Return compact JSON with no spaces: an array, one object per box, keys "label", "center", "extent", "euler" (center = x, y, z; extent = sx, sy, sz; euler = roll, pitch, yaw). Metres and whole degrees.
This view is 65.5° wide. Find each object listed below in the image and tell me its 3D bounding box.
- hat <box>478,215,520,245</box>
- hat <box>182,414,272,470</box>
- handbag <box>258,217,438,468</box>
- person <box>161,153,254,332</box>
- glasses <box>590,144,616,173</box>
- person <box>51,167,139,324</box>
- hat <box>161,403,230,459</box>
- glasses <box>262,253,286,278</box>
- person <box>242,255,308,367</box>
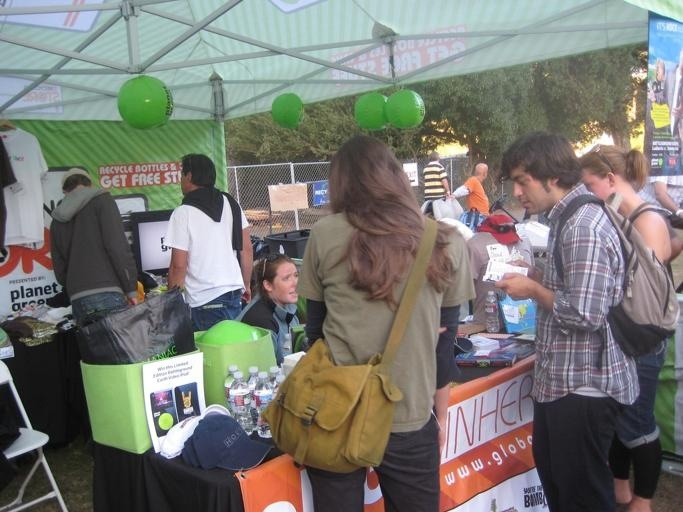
[{"label":"hat","center":[1.266,-0.228,4.239],"extent":[0.278,0.231,0.427],"euler":[4,9,-15]},{"label":"hat","center":[-0.532,0.879,2.453],"extent":[0.306,0.134,0.213],"euler":[2,7,25]},{"label":"handbag","center":[0.049,0.370,2.143],"extent":[0.751,0.964,0.249],"euler":[-6,5,-12]},{"label":"person","center":[-1.139,-0.111,4.476],"extent":[0.648,1.487,0.226],"euler":[-6,6,-20]},{"label":"glasses","center":[1.566,-0.597,3.197],"extent":[0.050,0.182,0.171],"euler":[-14,9,25]},{"label":"person","center":[-1.994,-0.027,4.219],"extent":[0.603,1.045,0.432],"euler":[-3,6,17]},{"label":"hat","center":[-0.701,0.883,2.582],"extent":[0.274,0.093,0.186],"euler":[-39,24,-24]},{"label":"glasses","center":[-0.450,0.069,3.599],"extent":[0.151,0.175,0.122],"euler":[5,-4,-10]},{"label":"person","center":[-0.516,0.444,3.745],"extent":[0.407,0.896,0.862],"euler":[-3,5,-1]}]
